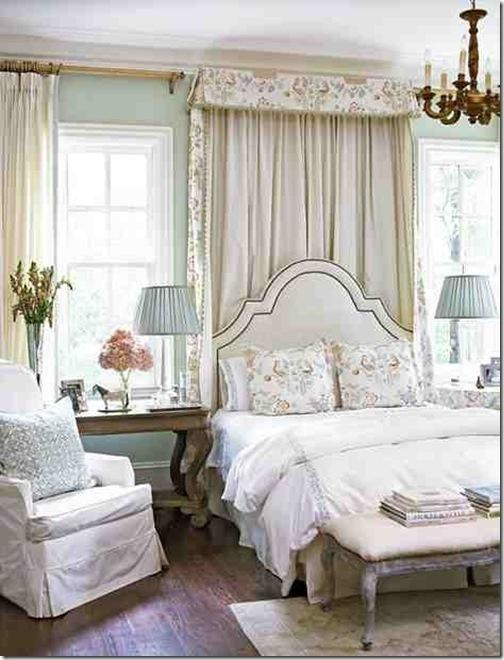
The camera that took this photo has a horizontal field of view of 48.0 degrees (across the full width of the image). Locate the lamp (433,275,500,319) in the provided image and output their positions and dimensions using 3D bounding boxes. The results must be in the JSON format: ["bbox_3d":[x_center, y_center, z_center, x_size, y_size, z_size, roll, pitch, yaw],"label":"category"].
[{"bbox_3d":[1.598,-0.198,4.258,0.329,0.250,0.330,-1,-1,40],"label":"lamp"}]

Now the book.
[{"bbox_3d":[0.657,0.615,1.975,0.232,0.066,0.195,-1,2,-11],"label":"book"}]

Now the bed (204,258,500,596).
[{"bbox_3d":[0.409,0.289,3.086,1.202,1.318,1.780,-1,1,-10],"label":"bed"}]

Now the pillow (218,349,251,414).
[{"bbox_3d":[-0.132,0.350,3.630,0.258,0.337,0.086,-7,-15,27],"label":"pillow"}]

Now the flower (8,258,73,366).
[{"bbox_3d":[-1.276,-0.098,3.424,0.340,0.722,0.661,1,-4,-23],"label":"flower"}]

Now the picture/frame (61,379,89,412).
[{"bbox_3d":[-1.044,0.372,3.305,0.128,0.209,0.069,-2,-24,-23],"label":"picture/frame"}]
